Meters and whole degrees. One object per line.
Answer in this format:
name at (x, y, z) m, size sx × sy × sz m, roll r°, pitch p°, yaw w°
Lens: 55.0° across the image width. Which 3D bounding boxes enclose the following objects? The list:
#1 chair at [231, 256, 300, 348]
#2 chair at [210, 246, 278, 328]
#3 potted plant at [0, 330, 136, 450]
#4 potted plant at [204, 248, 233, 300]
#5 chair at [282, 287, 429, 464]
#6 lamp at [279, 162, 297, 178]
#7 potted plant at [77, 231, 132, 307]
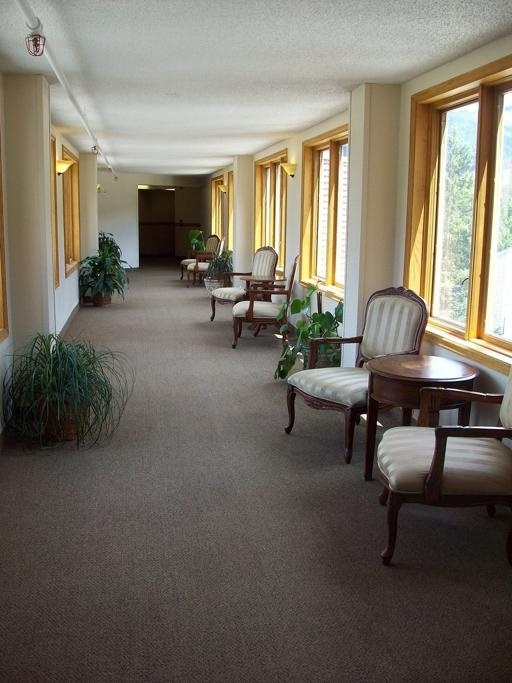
chair at (0.105, -0.549, 6.266) m, size 0.786 × 1.147 × 0.740 m, roll 3°, pitch 13°, yaw 3°
chair at (-0.203, -0.862, 7.411) m, size 0.824 × 1.200 × 0.866 m, roll 16°, pitch 15°, yaw 43°
potted plant at (-1.131, 0.318, 3.222) m, size 0.697 × 0.562 × 0.774 m, roll 16°, pitch 13°, yaw 38°
potted plant at (-0.834, -1.530, 11.060) m, size 0.653 × 1.104 × 0.667 m, roll 9°, pitch 24°, yaw 12°
chair at (0.633, 0.155, 3.090) m, size 0.685 × 1.015 × 0.671 m, roll -4°, pitch 12°, yaw -35°
lamp at (0.443, -2.373, 6.814) m, size 0.186 × 0.183 × 0.286 m, roll 2°, pitch 11°, yaw -1°
potted plant at (-2.902, -1.278, 9.308) m, size 0.860 × 1.082 × 1.152 m, roll -1°, pitch 12°, yaw -16°
